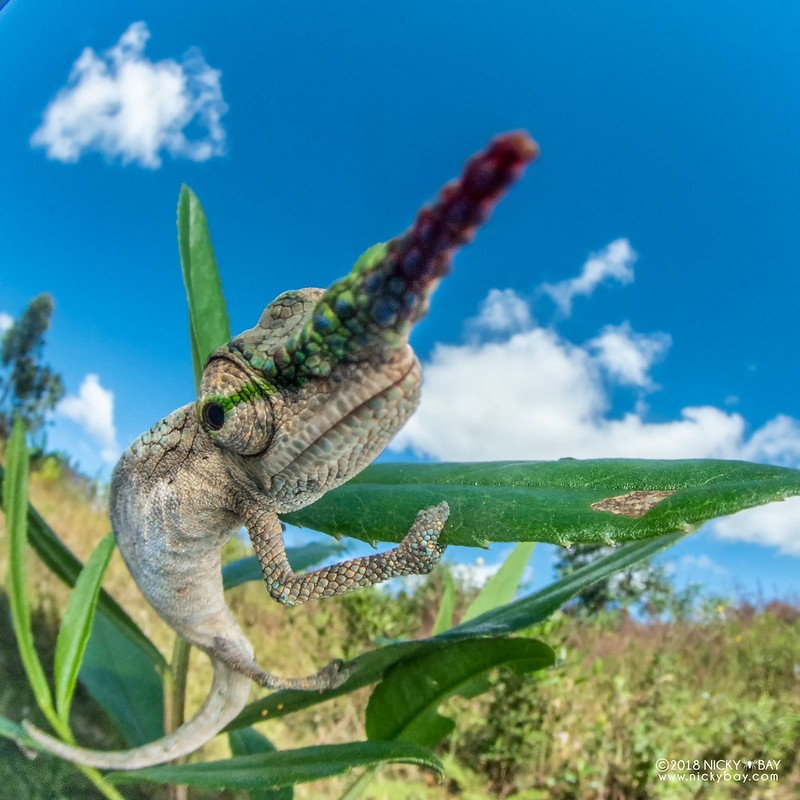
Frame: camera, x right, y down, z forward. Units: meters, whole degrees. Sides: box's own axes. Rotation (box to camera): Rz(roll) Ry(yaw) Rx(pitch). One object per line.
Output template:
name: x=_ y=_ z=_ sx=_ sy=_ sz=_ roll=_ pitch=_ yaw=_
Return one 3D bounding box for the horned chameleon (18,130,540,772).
horned chameleon: x=-0.299 y=0.241 z=2.428 sx=0.833 sy=2.306 sz=0.760 roll=41 pitch=28 yaw=-6
